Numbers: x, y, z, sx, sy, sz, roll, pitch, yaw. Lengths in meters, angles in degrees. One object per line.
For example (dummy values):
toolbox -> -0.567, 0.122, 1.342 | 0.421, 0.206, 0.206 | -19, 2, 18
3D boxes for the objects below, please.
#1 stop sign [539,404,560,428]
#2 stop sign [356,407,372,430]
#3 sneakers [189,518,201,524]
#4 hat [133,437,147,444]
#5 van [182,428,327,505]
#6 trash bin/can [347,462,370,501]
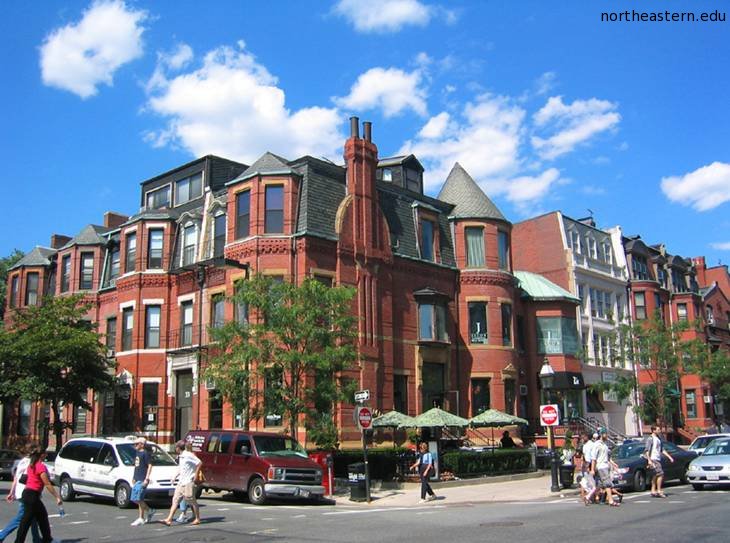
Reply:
stop sign -> 7.050, 5.463, 25.323 | 0.631, 0.760, 1.122 | -6, -17, 10
stop sign -> 0.046, 5.361, 24.243 | 0.446, 0.793, 1.108 | -10, -18, 23
sneakers -> -4.526, 6.731, 17.816 | 0.283, 0.160, 0.682 | 1, -17, -15
hat -> -6.495, 4.963, 19.262 | 0.288, 0.157, 0.219 | 2, -4, 39
van -> -3.604, 6.760, 23.019 | 2.330, 1.799, 4.451 | 15, -25, -39
trash bin/can -> -0.189, 7.773, 24.464 | 0.526, 1.357, 1.182 | 10, -21, -38
